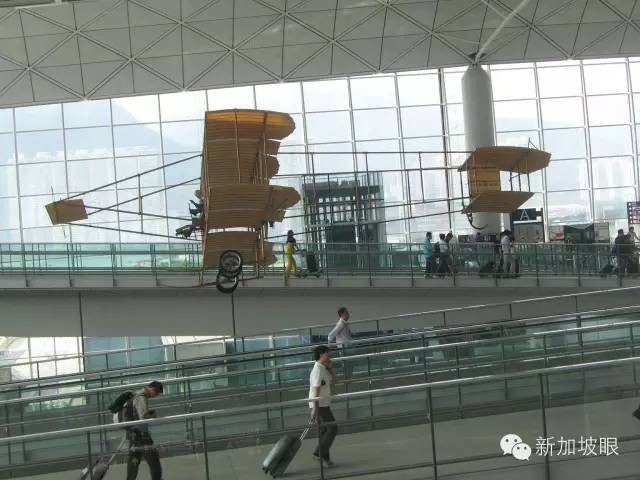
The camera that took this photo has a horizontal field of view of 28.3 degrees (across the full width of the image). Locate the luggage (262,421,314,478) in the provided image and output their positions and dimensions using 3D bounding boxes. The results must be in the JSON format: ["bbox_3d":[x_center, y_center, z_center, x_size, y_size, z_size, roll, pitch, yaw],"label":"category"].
[{"bbox_3d":[-0.724,5.035,30.360,1.036,0.825,1.369,4,-1,12],"label":"luggage"}]

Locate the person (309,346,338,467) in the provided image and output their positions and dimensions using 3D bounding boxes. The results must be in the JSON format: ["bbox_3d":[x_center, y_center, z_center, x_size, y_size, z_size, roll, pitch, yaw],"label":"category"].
[{"bbox_3d":[0.040,3.997,30.826,1.038,2.799,1.125,0,-5,-7],"label":"person"}]
